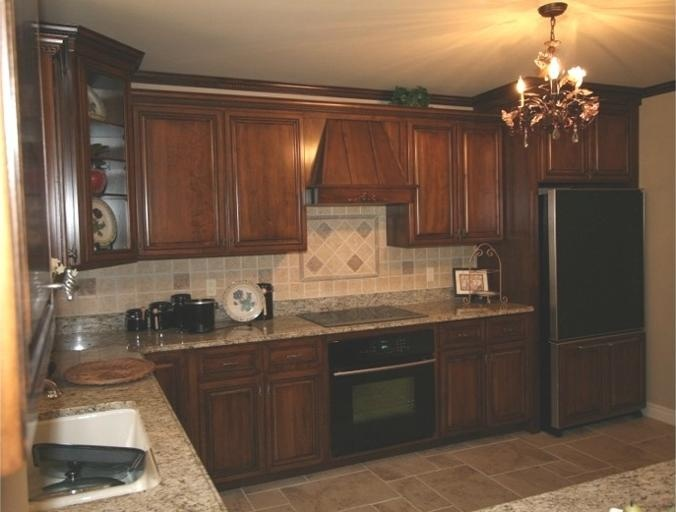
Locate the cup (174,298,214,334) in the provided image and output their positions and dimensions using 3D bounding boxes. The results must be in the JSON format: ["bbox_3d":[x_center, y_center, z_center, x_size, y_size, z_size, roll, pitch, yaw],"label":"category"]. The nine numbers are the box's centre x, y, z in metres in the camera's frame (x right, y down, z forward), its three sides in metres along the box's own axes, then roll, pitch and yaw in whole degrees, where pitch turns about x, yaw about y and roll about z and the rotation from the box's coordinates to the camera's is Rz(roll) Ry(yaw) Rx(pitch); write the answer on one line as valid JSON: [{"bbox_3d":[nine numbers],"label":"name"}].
[{"bbox_3d":[-0.922,0.386,3.689,0.249,0.159,0.213,2,0,-13],"label":"cup"}]

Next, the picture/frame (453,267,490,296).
[{"bbox_3d":[1.077,0.208,4.678,0.266,0.197,0.020,0,-9,14],"label":"picture/frame"}]

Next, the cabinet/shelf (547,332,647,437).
[{"bbox_3d":[1.932,0.966,4.380,0.885,0.634,0.326,-2,0,-24],"label":"cabinet/shelf"}]

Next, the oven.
[{"bbox_3d":[0.215,0.916,4.142,0.914,0.722,0.605,-2,-1,-30],"label":"oven"}]

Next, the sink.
[{"bbox_3d":[-0.889,0.700,2.064,0.393,0.137,0.697,-4,6,-25],"label":"sink"}]
